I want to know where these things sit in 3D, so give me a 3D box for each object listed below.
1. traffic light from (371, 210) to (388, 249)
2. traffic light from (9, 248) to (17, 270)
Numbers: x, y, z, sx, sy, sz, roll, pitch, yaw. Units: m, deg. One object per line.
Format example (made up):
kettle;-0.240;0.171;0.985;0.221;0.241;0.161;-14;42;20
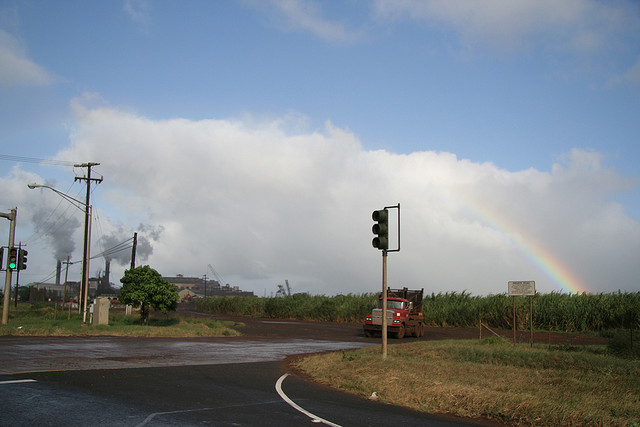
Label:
traffic light;2.430;0.649;20.719;0.560;1.683;0.466;1;-15;6
traffic light;-20.550;3.044;34.135;0.300;1.346;0.603;0;-15;12
